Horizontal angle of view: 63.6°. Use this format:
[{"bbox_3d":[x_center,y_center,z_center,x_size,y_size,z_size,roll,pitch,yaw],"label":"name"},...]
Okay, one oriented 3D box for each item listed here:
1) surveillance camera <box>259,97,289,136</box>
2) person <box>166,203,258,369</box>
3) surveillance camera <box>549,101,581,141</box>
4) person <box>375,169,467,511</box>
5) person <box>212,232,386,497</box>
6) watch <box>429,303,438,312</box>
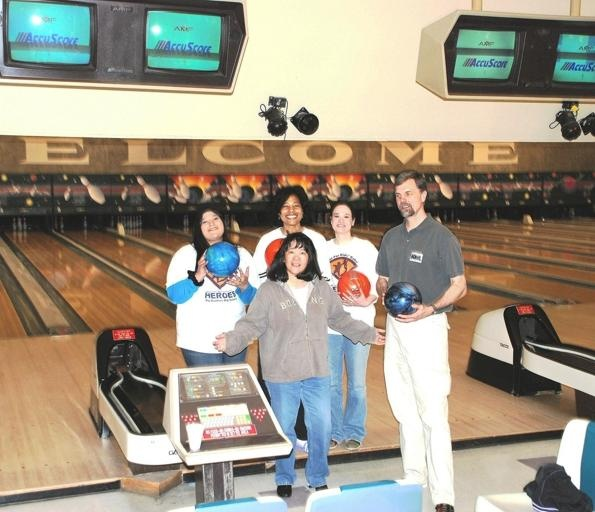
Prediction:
[{"bbox_3d":[-0.100,-0.644,2.193,0.120,0.186,0.098,0,-32,-9],"label":"surveillance camera"},{"bbox_3d":[-0.315,0.270,1.923,0.334,0.898,0.321,-4,9,-20],"label":"person"},{"bbox_3d":[1.467,-0.732,2.671,0.099,0.141,0.315,-16,-2,6],"label":"surveillance camera"},{"bbox_3d":[0.424,0.315,1.810,0.408,1.248,0.340,4,7,31],"label":"person"},{"bbox_3d":[-0.009,0.405,1.781,0.704,0.969,0.220,-5,8,-38],"label":"person"},{"bbox_3d":[0.477,0.180,1.686,0.006,0.024,0.025,-8,-21,-7],"label":"watch"}]
